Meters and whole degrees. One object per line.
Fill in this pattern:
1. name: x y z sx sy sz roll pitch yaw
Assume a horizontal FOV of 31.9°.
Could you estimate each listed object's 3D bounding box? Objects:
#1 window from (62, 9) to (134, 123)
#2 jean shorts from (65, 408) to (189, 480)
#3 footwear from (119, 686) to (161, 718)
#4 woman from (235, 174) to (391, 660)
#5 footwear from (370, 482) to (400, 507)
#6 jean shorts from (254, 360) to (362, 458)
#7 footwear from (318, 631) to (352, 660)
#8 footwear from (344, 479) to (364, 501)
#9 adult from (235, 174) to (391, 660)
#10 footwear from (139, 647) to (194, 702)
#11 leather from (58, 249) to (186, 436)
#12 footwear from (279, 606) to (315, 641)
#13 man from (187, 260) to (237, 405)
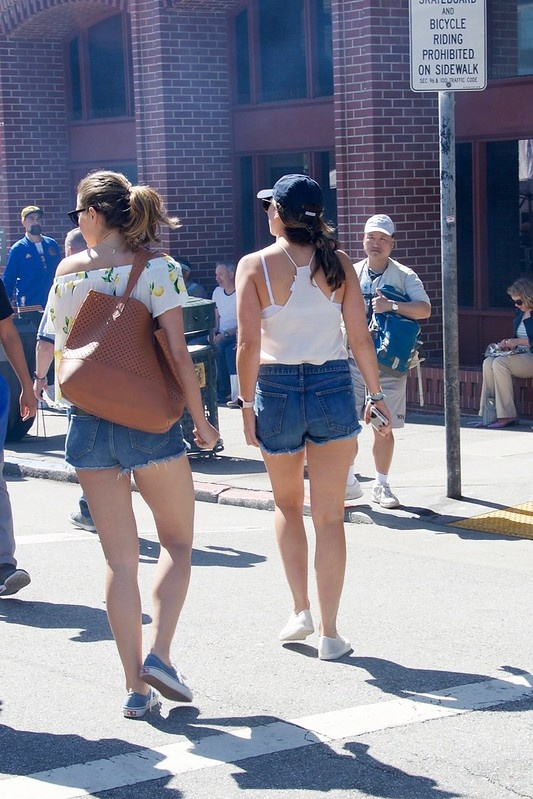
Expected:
1. window: -2.828 -5.705 15.846 0.097 1.834 1.985 -4 8 -42
2. jean shorts: -0.454 0.140 2.857 0.392 0.241 0.184 3 14 4
3. footwear: -0.412 0.973 3.027 0.057 0.058 0.147 2 4 14
4. woman: 0.170 0.074 3.589 0.532 1.844 0.377 -2 1 3
5. footwear: 0.795 0.632 6.220 0.106 0.092 0.217 -4 8 -22
6. jean shorts: 0.147 0.027 3.459 0.374 0.341 0.124 -2 1 -1
7. footwear: 0.269 0.942 3.613 0.069 0.063 0.150 4 9 31
8. footwear: 0.598 0.609 6.398 0.116 0.124 0.310 1 6 12
9. adult: 0.170 0.074 3.589 0.532 1.844 0.377 -2 1 3
10. footwear: -0.308 0.859 2.914 0.083 0.224 0.089 -28 30 37
11. leather: -0.445 -0.180 2.849 0.384 0.573 0.217 -2 1 -8
12. footwear: 0.118 0.907 3.763 0.086 0.083 0.184 8 -25 -17
13. man: -0.559 -0.750 11.664 0.655 1.909 0.572 -5 17 -25
